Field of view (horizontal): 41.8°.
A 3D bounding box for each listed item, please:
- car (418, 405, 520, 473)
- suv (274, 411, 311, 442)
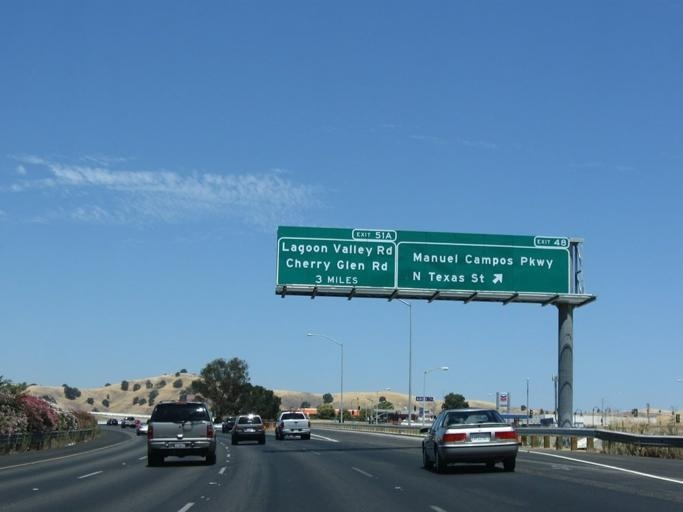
[{"bbox_3d":[4.645,6.544,33.189,2.603,1.937,5.172,-2,-6,-3],"label":"car"},{"bbox_3d":[-3.210,11.135,59.352,2.065,1.734,1.817,0,-11,3],"label":"suv"}]
